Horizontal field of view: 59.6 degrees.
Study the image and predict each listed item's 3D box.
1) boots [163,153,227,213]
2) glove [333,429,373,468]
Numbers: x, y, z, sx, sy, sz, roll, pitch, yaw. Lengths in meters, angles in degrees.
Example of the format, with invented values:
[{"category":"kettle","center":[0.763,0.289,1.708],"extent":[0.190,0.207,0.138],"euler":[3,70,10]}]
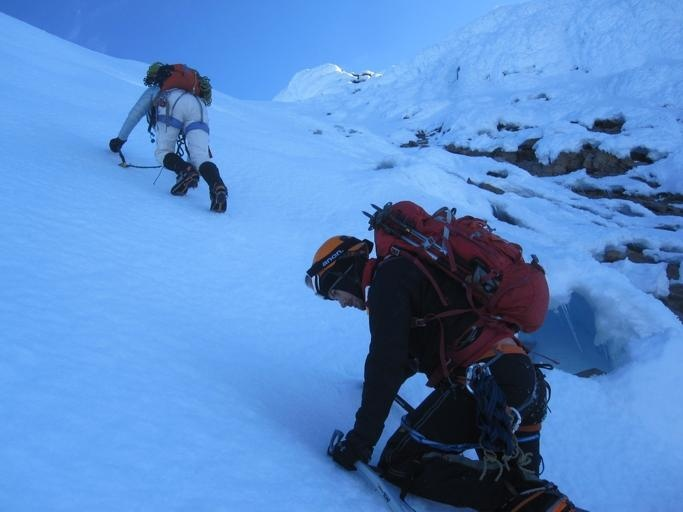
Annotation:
[{"category":"boots","center":[-1.976,-1.023,8.059],"extent":[1.056,0.558,0.374],"euler":[24,17,0]},{"category":"glove","center":[0.036,1.682,5.163],"extent":[0.380,0.265,0.238],"euler":[23,-13,-24]}]
